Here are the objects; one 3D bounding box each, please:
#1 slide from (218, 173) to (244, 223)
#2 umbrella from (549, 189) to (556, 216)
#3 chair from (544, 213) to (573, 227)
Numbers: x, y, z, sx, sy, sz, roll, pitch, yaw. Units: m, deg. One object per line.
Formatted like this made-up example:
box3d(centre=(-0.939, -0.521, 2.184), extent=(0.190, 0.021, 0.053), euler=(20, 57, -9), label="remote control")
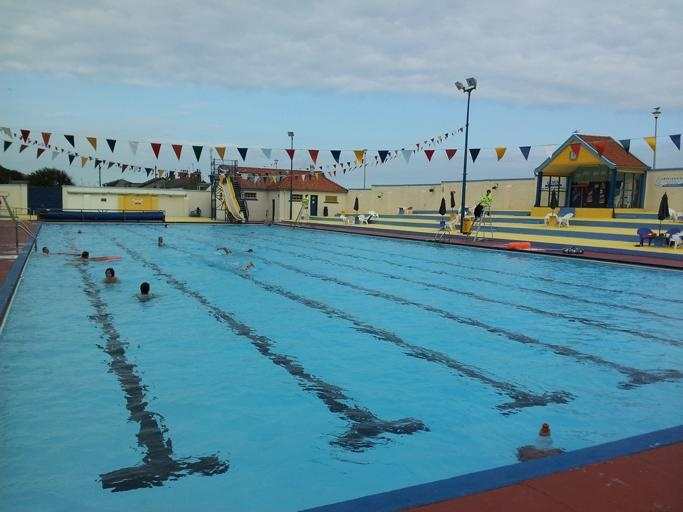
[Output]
box3d(centre=(-7.880, -4.117, 37.850), extent=(1.222, 0.806, 5.153), euler=(18, 33, -38), label="slide")
box3d(centre=(11.114, -2.997, 27.809), extent=(0.387, 0.825, 0.523), euler=(6, 12, 18), label="umbrella")
box3d(centre=(9.551, -1.590, 23.452), extent=(0.844, 0.439, 1.267), euler=(-2, 9, -19), label="chair")
